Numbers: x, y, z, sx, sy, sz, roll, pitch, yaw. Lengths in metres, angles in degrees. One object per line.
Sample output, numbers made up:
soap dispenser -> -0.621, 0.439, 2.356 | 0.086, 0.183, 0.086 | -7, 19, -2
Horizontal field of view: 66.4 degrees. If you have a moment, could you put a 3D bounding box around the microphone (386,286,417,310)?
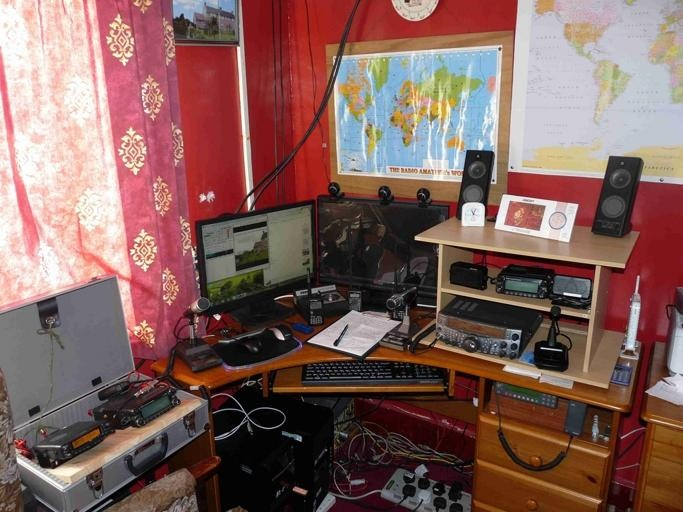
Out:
microphone -> 0.315, 0.211, 2.683 | 0.127, 0.129, 0.238 | 6, 18, 13

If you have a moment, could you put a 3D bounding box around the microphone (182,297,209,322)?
microphone -> -0.680, 0.245, 2.428 | 0.069, 0.066, 0.207 | -17, -4, -32

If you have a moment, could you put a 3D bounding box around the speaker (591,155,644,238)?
speaker -> 1.261, -0.259, 2.382 | 0.136, 0.366, 0.128 | 11, -9, 46

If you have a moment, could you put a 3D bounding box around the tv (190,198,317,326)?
tv -> -0.425, 0.030, 2.746 | 0.699, 0.577, 0.250 | -13, 19, -40

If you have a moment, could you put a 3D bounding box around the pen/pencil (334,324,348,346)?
pen/pencil -> -0.006, 0.387, 2.559 | 0.012, 0.025, 0.116 | -18, 23, 30

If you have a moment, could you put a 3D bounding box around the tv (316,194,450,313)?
tv -> 0.234, -0.019, 2.765 | 0.553, 0.445, 0.187 | 4, 9, 18

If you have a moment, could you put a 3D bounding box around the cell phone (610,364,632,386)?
cell phone -> 1.212, 0.511, 2.259 | 0.070, 0.035, 0.148 | 14, 21, 33

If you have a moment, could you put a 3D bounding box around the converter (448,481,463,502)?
converter -> 0.621, 1.275, 2.853 | 0.055, 0.079, 0.079 | 3, 10, 25
